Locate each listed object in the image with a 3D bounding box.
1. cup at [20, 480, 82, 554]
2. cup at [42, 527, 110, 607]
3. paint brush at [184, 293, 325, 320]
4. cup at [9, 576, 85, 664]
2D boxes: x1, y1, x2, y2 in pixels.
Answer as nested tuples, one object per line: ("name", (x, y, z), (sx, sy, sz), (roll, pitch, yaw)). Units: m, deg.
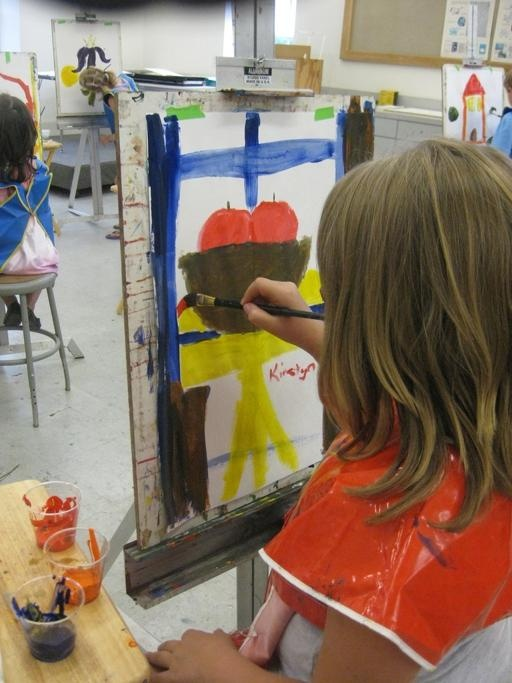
("cup", (-0.301, 0.246, 0.871), (0.073, 0.071, 0.087), (3, 15, 4))
("cup", (-0.232, 0.291, 0.783), (0.075, 0.072, 0.086), (-1, 22, 0))
("paint brush", (-0.013, -0.053, 0.911), (0.201, 0.030, 0.024), (6, 24, -3))
("cup", (-0.236, 0.301, 0.671), (0.065, 0.061, 0.075), (0, 19, -4))
